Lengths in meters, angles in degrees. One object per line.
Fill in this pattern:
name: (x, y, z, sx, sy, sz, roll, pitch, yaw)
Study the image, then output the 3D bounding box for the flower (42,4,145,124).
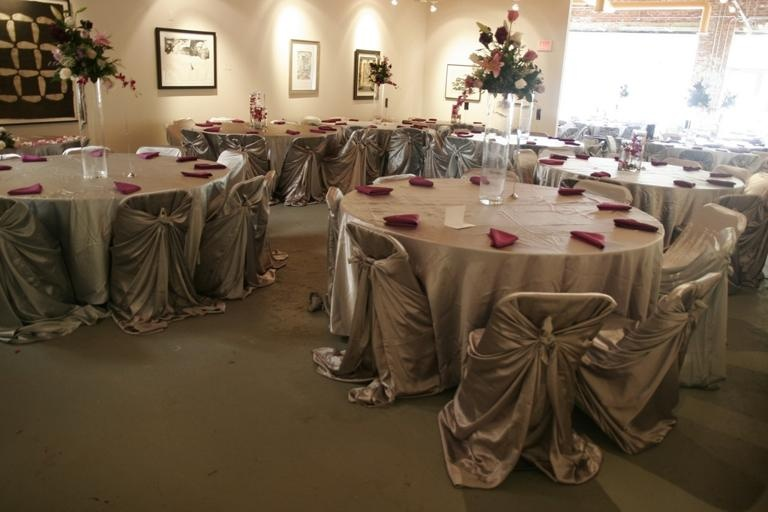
flower: (-2.448, -1.594, 3.830, 0.498, 0.742, 0.479, -5, 18, -25)

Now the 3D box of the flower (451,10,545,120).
flower: (0.849, -1.371, 3.294, 0.566, 0.530, 0.253, 8, 17, 19)

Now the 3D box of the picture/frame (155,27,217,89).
picture/frame: (-3.253, -3.222, 7.473, 0.067, 0.925, 1.046, 19, 25, 37)

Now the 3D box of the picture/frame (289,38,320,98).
picture/frame: (-1.623, -3.781, 9.384, 0.030, 1.098, 0.801, 15, 21, 38)
